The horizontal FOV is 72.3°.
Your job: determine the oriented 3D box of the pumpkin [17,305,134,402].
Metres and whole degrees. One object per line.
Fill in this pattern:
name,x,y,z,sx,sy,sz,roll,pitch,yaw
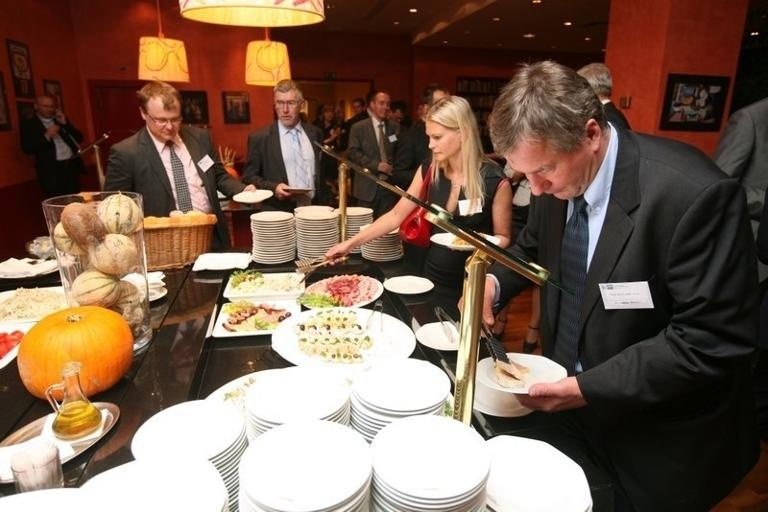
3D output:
pumpkin,-1.255,0.365,2.110,0.400,0.286,0.385,3,26,-28

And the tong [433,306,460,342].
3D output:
tong,0.292,0.318,2.384,0.057,0.030,0.154,2,24,-10

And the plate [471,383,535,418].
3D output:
plate,0.436,0.505,1.928,0.149,0.018,0.157,9,15,30

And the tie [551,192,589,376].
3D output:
tie,0.817,0.043,2.258,0.160,0.766,0.076,2,4,-43

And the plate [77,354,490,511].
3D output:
plate,-0.395,0.506,1.618,0.719,0.170,0.499,-2,12,-5

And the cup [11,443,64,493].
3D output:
cup,-1.061,0.665,1.613,0.121,0.152,0.108,-12,25,-28

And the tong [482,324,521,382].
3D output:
tong,0.439,0.357,1.966,0.108,0.039,0.281,-5,34,-7

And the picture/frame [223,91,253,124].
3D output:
picture/frame,-2.503,-2.564,8.936,0.540,0.594,0.065,-4,14,-19

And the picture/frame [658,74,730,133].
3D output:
picture/frame,3.180,-1.549,5.361,0.794,0.562,0.019,-2,13,-18

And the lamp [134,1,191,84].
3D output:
lamp,-2.721,-2.455,6.486,0.419,0.570,0.626,11,24,25

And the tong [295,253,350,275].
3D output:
tong,-0.347,0.022,3.128,0.369,0.031,0.108,-16,39,-18
